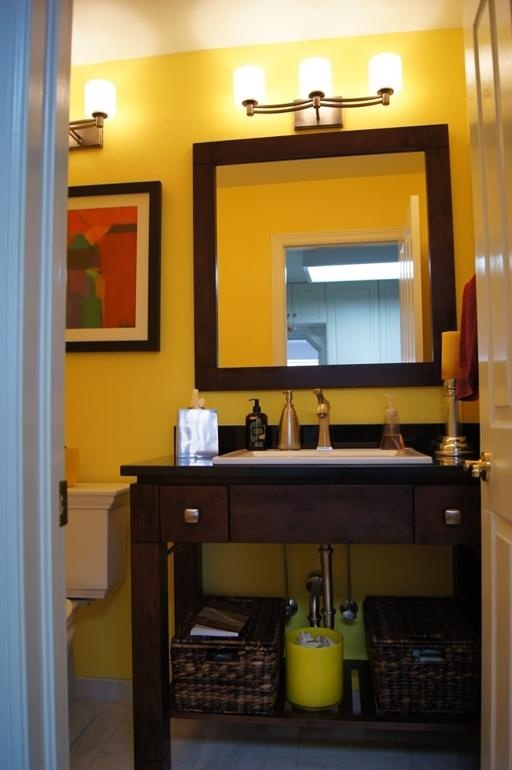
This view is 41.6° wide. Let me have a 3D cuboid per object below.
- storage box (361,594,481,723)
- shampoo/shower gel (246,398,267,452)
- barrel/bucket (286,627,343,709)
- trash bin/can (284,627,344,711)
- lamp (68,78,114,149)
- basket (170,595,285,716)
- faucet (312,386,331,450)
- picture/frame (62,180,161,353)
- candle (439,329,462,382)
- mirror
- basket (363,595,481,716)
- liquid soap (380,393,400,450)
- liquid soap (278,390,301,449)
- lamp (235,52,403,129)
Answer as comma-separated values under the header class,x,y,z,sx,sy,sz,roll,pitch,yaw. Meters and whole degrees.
class,x,y,z,sx,sy,sz,roll,pitch,yaw
storage box,0.429,0.700,1.778,0.279,0.179,0.376,-1,1,8
shampoo/shower gel,0.000,0.117,1.987,0.056,0.146,0.079,-1,1,-1
barrel/bucket,0.148,0.729,1.753,0.149,0.144,0.200,-1,1,6
trash bin/can,0.148,0.729,1.753,0.149,0.145,0.200,-1,1,6
lamp,-0.557,-0.909,2.259,0.185,0.153,0.170,-1,1,3
basket,-0.071,0.658,1.908,0.255,0.223,0.485,2,18,3
faucet,0.190,0.096,1.949,0.042,0.167,0.148,-1,1,5
picture/frame,-0.452,-0.366,2.183,0.459,0.666,0.042,-1,-2,16
candle,0.518,-0.075,1.803,0.045,0.133,0.049,-1,1,21
mirror,0.222,-0.420,2.198,0.800,1.069,0.041,-1,-30,9
basket,0.418,0.787,1.813,0.228,0.197,0.418,0,-22,4
liquid soap,0.373,0.126,1.865,0.052,0.169,0.064,1,-25,4
liquid soap,0.095,0.104,1.985,0.062,0.168,0.147,-1,1,3
lamp,0.187,-0.913,2.104,0.489,0.220,0.155,2,20,14
